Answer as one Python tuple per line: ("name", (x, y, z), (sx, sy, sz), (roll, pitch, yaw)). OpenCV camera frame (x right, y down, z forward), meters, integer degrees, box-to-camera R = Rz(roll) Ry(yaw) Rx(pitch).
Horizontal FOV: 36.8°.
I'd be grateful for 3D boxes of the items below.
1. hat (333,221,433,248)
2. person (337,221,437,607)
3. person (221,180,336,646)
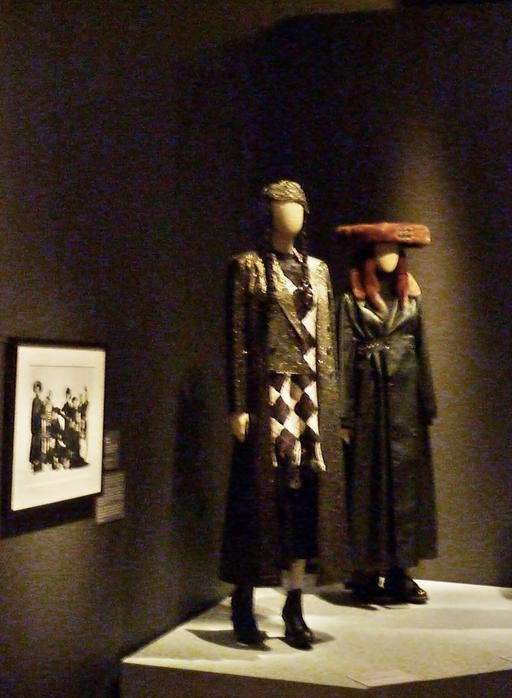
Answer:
("hat", (0.277, -0.246, 1.682), (0.201, 0.044, 0.086), (-1, -1, 5))
("person", (0.292, 0.138, 1.736), (0.207, 0.692, 0.231), (-1, 0, 4))
("person", (0.049, 0.080, 1.642), (0.276, 0.707, 0.124), (-1, 0, -13))
